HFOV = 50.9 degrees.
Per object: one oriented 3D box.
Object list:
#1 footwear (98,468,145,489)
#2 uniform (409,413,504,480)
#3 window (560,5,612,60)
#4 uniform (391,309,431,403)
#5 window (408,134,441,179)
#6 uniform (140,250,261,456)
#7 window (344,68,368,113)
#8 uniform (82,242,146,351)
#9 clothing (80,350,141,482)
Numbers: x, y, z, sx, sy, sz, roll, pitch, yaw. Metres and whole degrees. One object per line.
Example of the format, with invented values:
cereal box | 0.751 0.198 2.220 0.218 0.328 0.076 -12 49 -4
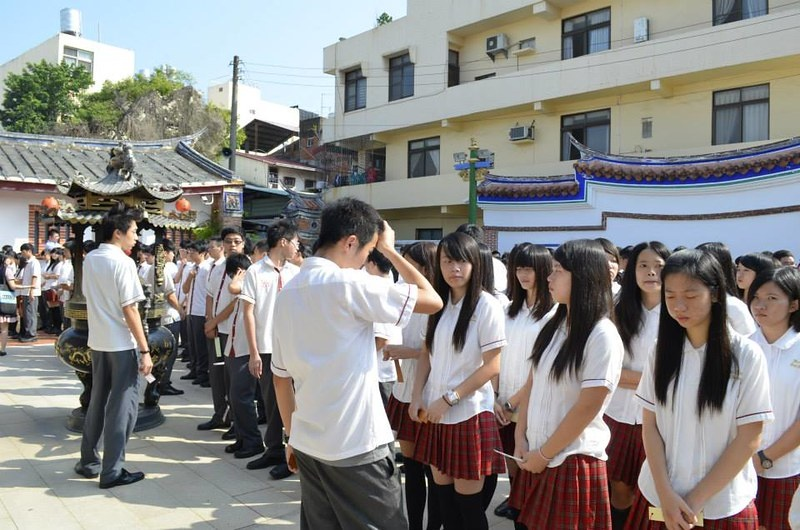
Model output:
footwear | -3.193 2.512 9.800 0.521 0.221 0.188 -5 2 -28
uniform | 0.713 1.842 9.162 0.682 0.747 1.105 1 -8 14
window | 4.478 -5.570 20.101 1.703 1.265 0.129 1 -2 43
uniform | 0.143 1.141 9.484 0.323 0.670 0.216 -25 -48 39
window | 0.707 -3.030 23.262 1.388 1.630 0.132 -1 -2 44
uniform | -2.617 1.233 11.198 1.276 3.966 1.207 -22 -28 39
window | -1.285 -5.196 24.641 0.866 1.132 0.062 -15 25 -41
uniform | -3.402 0.392 9.973 0.686 1.262 0.281 -1 3 16
clothing | -3.397 1.773 9.896 0.692 1.514 0.415 -2 3 -12
